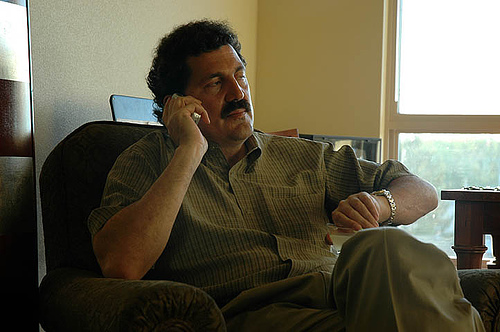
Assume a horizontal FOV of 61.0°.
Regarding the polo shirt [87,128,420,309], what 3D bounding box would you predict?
[{"bbox_3d":[-0.038,0.151,1.621,1.342,0.561,0.638,-4,18,-40],"label":"polo shirt"}]
